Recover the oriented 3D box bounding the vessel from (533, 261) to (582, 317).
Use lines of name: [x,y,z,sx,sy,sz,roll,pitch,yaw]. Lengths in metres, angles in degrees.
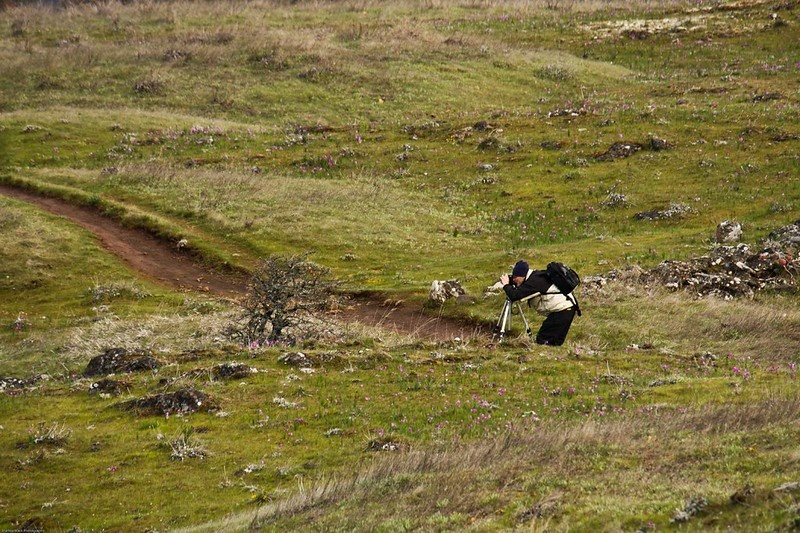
vessel: [11.323,1.473,104.673,3.000,3.680,2.705,-7,7,25]
